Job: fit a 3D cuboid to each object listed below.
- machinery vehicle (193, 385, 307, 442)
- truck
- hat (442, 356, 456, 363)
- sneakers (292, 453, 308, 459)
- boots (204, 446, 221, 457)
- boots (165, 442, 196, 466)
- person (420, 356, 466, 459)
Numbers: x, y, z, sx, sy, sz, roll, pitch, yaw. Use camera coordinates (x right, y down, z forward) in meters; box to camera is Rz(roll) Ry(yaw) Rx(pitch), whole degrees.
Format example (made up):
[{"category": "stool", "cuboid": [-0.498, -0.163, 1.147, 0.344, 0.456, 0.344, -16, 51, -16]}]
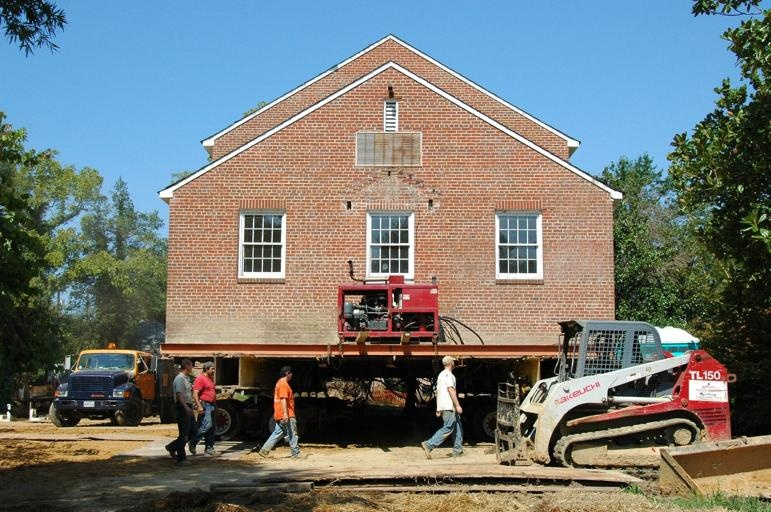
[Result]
[{"category": "machinery vehicle", "cuboid": [-4.586, 5.020, 31.807, 2.517, 1.080, 1.694, 0, -4, 4]}, {"category": "truck", "cuboid": [-10.463, 5.130, 38.123, 5.209, 2.901, 5.316, 7, -13, -34]}, {"category": "hat", "cuboid": [1.750, 2.938, 28.264, 0.255, 0.200, 0.201, -7, -10, 7]}, {"category": "sneakers", "cuboid": [-2.522, 5.805, 28.755, 0.356, 0.158, 0.178, -3, -5, 1]}, {"category": "boots", "cuboid": [-5.032, 5.723, 28.910, 0.571, 0.260, 0.198, -3, -8, 13]}, {"category": "boots", "cuboid": [-5.830, 5.560, 27.861, 0.708, 0.578, 0.781, 0, -11, 0]}, {"category": "person", "cuboid": [1.687, 4.293, 28.380, 1.034, 2.903, 1.097, -3, -10, 15]}]
